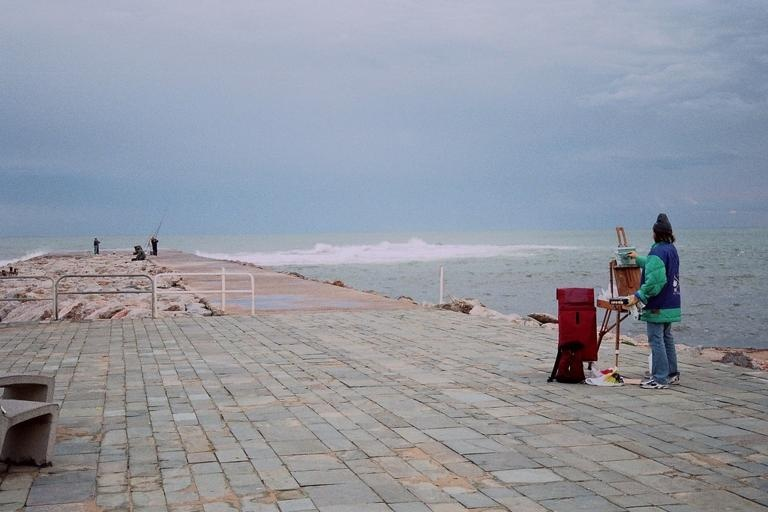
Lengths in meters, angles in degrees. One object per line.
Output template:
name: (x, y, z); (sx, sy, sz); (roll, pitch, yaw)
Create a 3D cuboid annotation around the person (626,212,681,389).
person: (3.871, 0.628, 7.772); (0.564, 2.613, 0.821); (1, 0, 33)
